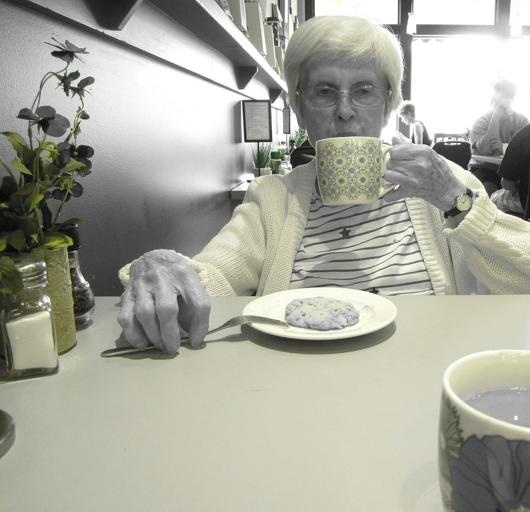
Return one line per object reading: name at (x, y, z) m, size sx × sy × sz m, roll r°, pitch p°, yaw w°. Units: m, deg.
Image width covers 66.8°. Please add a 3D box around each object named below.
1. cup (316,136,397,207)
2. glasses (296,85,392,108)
cup at (0.177, -0.174, 0.835) m, size 0.176 × 0.114 × 0.111 m, roll -6°, pitch 3°, yaw -28°
glasses at (0.222, -0.444, 1.119) m, size 0.227 × 0.070 × 0.054 m, roll -2°, pitch 12°, yaw 4°
